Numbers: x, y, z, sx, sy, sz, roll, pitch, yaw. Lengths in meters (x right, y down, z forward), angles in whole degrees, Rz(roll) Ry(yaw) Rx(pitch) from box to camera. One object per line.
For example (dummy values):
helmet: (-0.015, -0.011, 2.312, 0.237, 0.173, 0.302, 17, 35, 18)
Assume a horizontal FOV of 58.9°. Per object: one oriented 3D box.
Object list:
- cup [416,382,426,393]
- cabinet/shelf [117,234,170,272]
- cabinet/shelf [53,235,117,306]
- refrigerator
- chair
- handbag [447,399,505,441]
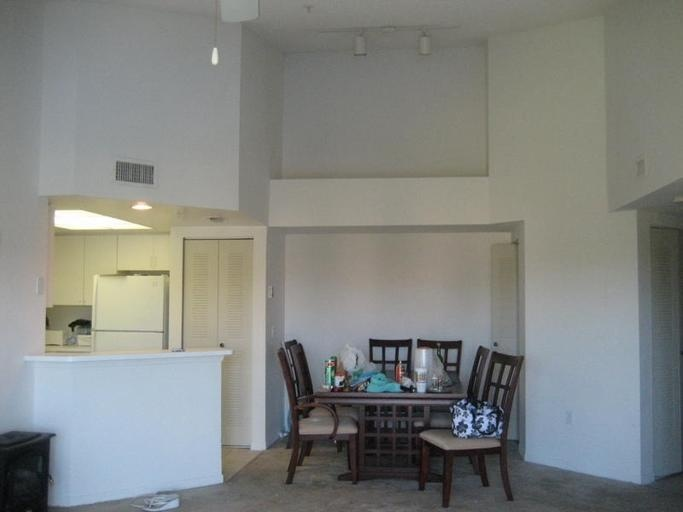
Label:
cup: (0.740, 1.213, 5.601, 0.081, 0.093, 0.080, 1, 0, 0)
cabinet/shelf: (-2.593, -0.050, 7.911, 0.734, 0.483, 0.134, 4, 14, 12)
cabinet/shelf: (-3.279, 0.163, 7.826, 0.859, 0.918, 0.340, 0, -3, 5)
refrigerator: (-2.466, 0.669, 7.078, 1.013, 0.902, 0.339, 2, 13, 7)
chair: (0.502, 1.536, 5.805, 1.840, 1.075, 1.418, 0, -6, 5)
handbag: (1.195, 1.428, 5.312, 0.344, 0.130, 0.340, 0, 12, 5)
